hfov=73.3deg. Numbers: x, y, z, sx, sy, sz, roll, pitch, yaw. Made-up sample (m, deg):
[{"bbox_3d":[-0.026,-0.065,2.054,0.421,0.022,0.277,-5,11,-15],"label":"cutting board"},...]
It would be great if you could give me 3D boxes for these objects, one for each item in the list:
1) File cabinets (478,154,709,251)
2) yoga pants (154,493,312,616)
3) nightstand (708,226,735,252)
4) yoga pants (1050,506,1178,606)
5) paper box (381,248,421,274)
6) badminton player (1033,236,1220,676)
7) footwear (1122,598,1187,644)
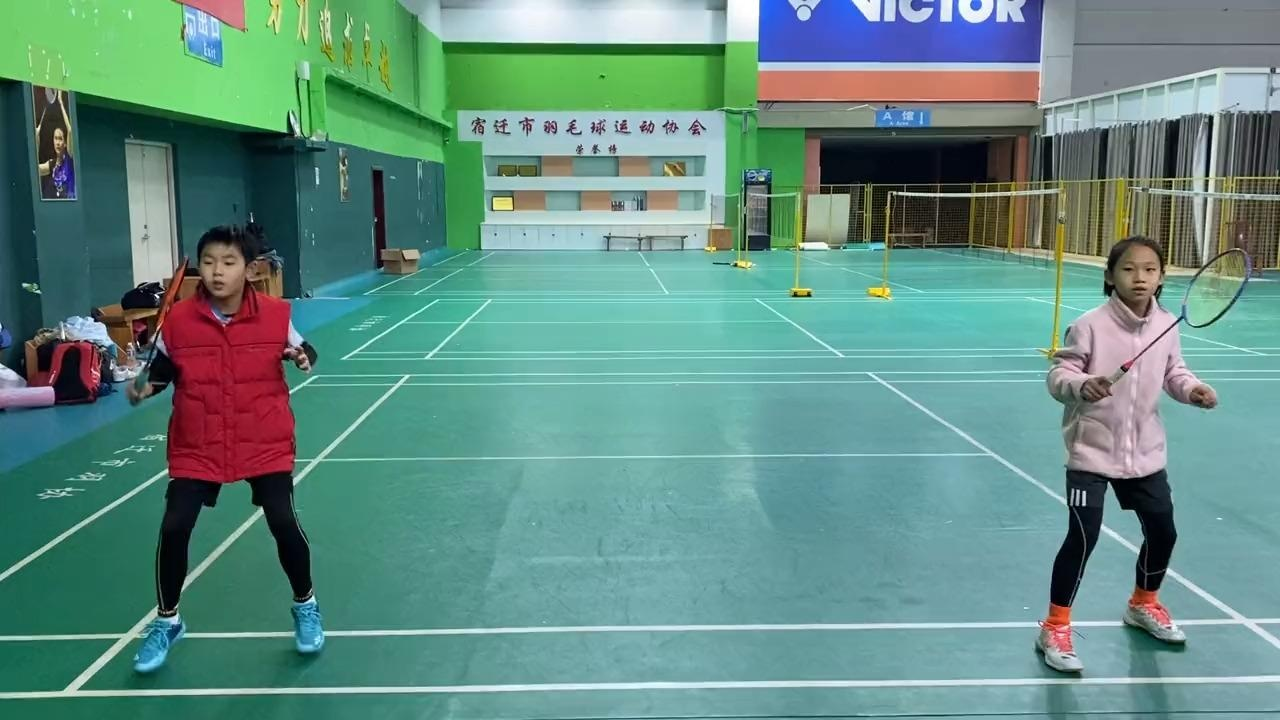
[{"bbox_3d":[-1.856,-6.168,33.257,8.395,3.503,2.298,-3,14,-12],"label":"File cabinets"},{"bbox_3d":[-2.694,1.192,6.035,0.900,0.970,0.837,-1,-2,13],"label":"yoga pants"},{"bbox_3d":[3.093,-4.651,33.124,1.424,1.222,0.827,0,2,-1],"label":"nightstand"},{"bbox_3d":[3.220,1.286,5.839,0.858,0.765,0.637,-2,-1,-43],"label":"yoga pants"},{"bbox_3d":[-6.821,-2.759,23.876,0.840,0.705,1.157,0,6,13],"label":"paper box"},{"bbox_3d":[3.209,0.422,5.975,1.161,3.092,1.336,0,0,13],"label":"badminton player"},{"bbox_3d":[3.625,1.841,6.099,0.471,0.202,0.175,4,12,44],"label":"footwear"}]
